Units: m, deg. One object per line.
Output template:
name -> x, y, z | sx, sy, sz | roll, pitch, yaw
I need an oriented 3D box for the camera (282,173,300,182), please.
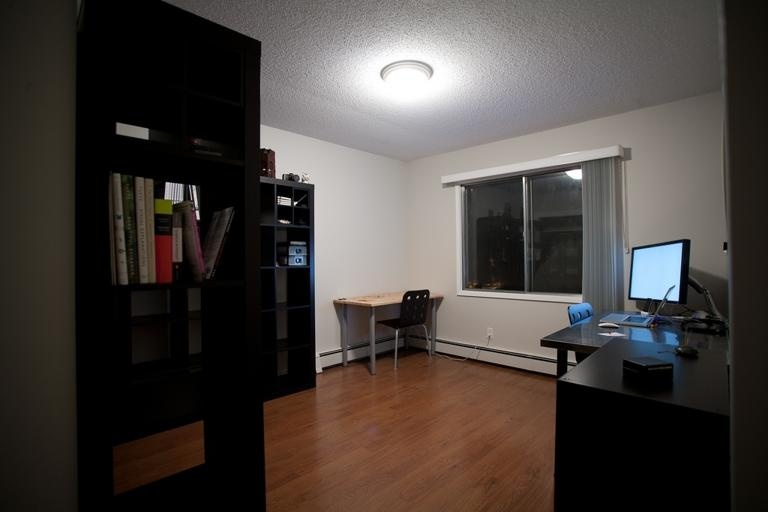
camera -> -0.830, -0.703, 4.809 | 0.161, 0.100, 0.096 | 2, -1, -18

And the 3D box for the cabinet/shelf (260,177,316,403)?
cabinet/shelf -> -0.838, 0.241, 4.683 | 0.476, 1.854, 0.718 | -2, 9, -7

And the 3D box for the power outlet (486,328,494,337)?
power outlet -> 1.099, 0.792, 5.472 | 0.012, 0.115, 0.081 | -5, 7, -38
